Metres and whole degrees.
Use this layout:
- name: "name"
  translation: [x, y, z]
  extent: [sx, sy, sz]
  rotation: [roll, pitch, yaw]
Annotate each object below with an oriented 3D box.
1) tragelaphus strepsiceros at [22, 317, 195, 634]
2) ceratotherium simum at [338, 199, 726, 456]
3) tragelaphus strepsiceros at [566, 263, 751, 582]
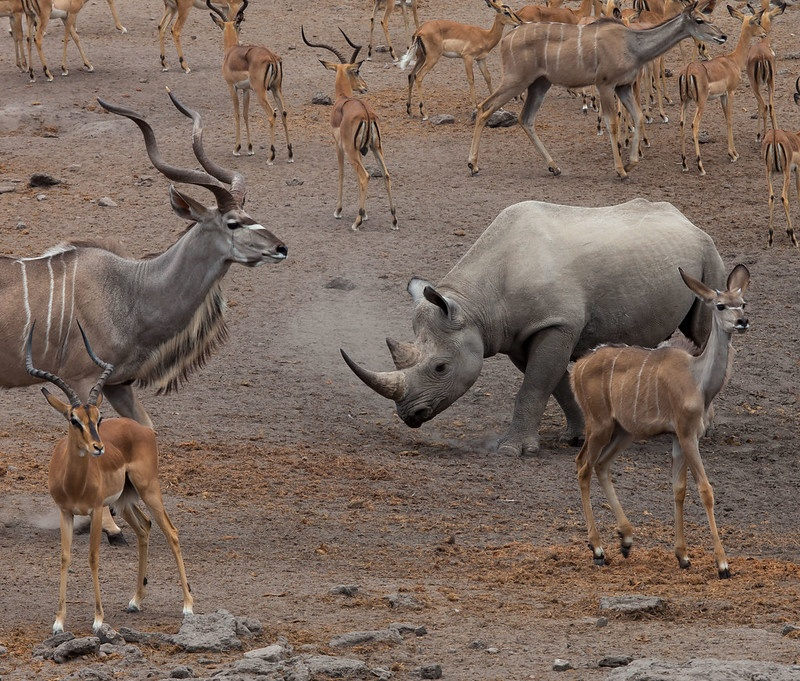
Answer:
- name: "tragelaphus strepsiceros"
  translation: [-1.745, 0.843, 8.126]
  extent: [0.664, 1.812, 1.428]
  rotation: [-3, 1, 9]
- name: "ceratotherium simum"
  translation: [1.128, 0.063, 11.943]
  extent: [2.961, 2.339, 2.800]
  rotation: [-13, 20, -42]
- name: "tragelaphus strepsiceros"
  translation: [1.712, 0.510, 9.039]
  extent: [1.139, 1.998, 0.913]
  rotation: [4, 12, 14]
